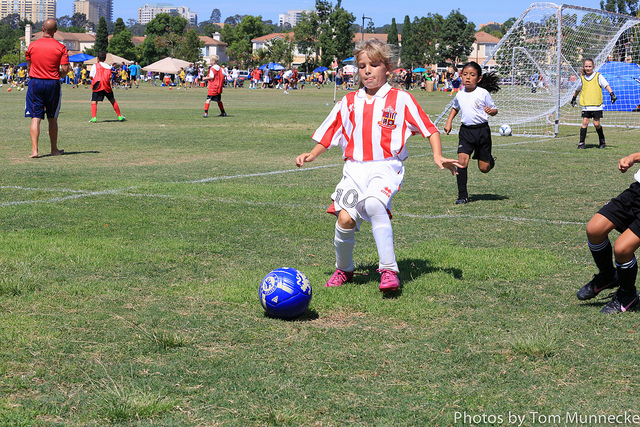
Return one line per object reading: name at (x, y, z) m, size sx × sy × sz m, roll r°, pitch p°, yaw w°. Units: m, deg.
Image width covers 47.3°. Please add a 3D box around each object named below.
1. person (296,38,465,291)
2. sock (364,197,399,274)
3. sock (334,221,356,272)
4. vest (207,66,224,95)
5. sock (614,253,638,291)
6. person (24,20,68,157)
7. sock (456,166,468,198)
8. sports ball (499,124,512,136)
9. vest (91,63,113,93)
person at (0.478, -0.450, 6.839) m, size 1.247 × 2.351 × 0.616 m, roll 2°, pitch 9°, yaw 7°
sock at (0.565, 0.192, 6.764) m, size 0.327 × 0.708 × 0.170 m, roll 1°, pitch 9°, yaw 1°
sock at (0.241, 0.317, 6.944) m, size 0.185 × 0.536 × 0.376 m, roll 1°, pitch 9°, yaw 3°
vest at (-3.288, -4.210, 23.027) m, size 0.495 × 0.865 × 0.641 m, roll -1°, pitch 9°, yaw -12°
sock at (2.663, 0.520, 6.373) m, size 0.166 × 0.340 × 0.203 m, roll 5°, pitch 10°, yaw 21°
person at (-4.945, -2.285, 13.253) m, size 0.738 × 2.467 × 1.441 m, roll -2°, pitch 10°, yaw -21°
sock at (2.049, -0.451, 10.535) m, size 0.137 × 0.419 × 0.261 m, roll 3°, pitch 9°, yaw 12°
sports ball at (4.653, -2.151, 18.370) m, size 0.314 × 0.291 × 0.305 m, roll 0°, pitch -11°, yaw 0°
vest at (-5.980, -3.768, 19.909) m, size 0.551 × 0.839 × 0.665 m, roll 2°, pitch 4°, yaw 17°
